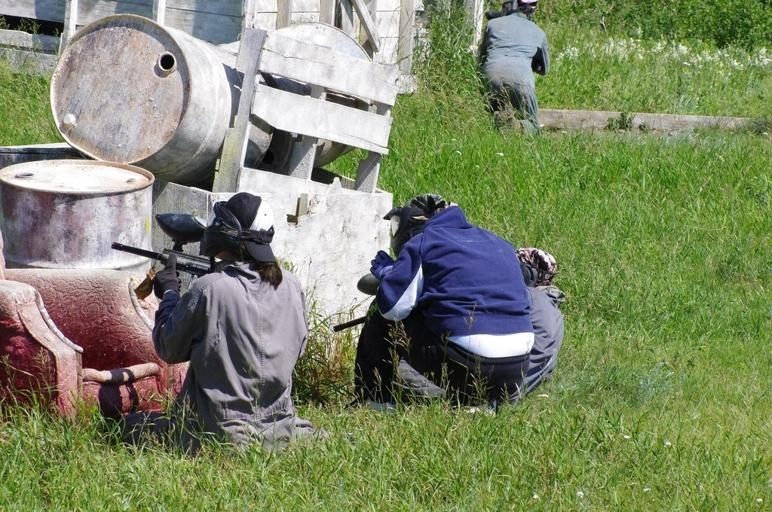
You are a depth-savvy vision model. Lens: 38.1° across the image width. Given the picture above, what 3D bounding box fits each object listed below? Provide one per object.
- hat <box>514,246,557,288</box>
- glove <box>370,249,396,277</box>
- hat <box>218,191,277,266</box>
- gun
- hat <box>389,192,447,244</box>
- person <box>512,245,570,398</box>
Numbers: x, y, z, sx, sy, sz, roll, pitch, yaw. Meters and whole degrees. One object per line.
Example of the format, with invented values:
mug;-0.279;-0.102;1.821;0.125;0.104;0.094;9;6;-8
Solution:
hat;1.353;0.048;10.276;0.273;0.294;0.389;7;43;-37
glove;-0.042;0.081;9.591;0.207;0.085;0.210;40;36;13
hat;-1.060;-0.217;8.483;0.440;0.493;0.226;4;8;-10
gun;-1.727;-0.124;8.987;0.946;0.445;0.299;15;-14;17
hat;0.290;-0.341;9.825;0.623;0.356;0.439;-16;-14;32
person;1.348;0.636;9.868;0.399;0.397;1.175;-9;18;24
